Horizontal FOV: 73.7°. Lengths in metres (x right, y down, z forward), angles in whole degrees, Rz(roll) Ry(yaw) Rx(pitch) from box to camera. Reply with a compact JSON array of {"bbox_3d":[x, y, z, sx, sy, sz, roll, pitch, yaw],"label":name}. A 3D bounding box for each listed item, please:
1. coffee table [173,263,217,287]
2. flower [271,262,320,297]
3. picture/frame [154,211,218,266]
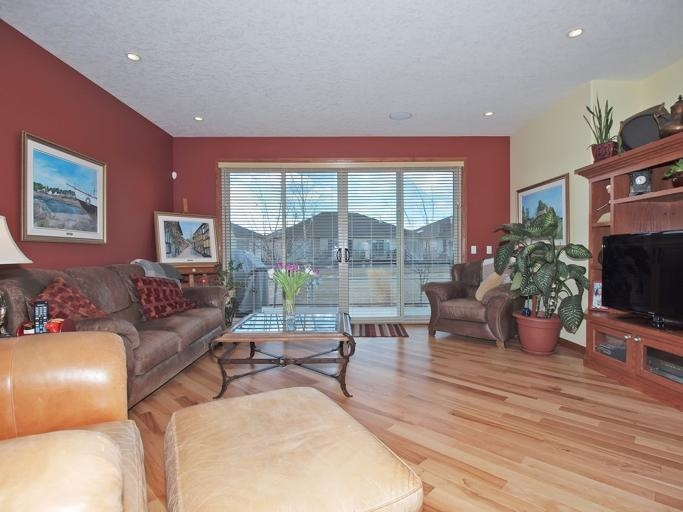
[{"bbox_3d":[-1.935,0.216,5.983,0.466,0.388,0.309,2,-4,-39],"label":"coffee table"},{"bbox_3d":[-0.470,0.210,4.474,0.583,0.357,0.544,1,-3,-11],"label":"flower"},{"bbox_3d":[-2.029,-0.214,5.975,0.094,0.706,0.928,-3,-1,38],"label":"picture/frame"}]
